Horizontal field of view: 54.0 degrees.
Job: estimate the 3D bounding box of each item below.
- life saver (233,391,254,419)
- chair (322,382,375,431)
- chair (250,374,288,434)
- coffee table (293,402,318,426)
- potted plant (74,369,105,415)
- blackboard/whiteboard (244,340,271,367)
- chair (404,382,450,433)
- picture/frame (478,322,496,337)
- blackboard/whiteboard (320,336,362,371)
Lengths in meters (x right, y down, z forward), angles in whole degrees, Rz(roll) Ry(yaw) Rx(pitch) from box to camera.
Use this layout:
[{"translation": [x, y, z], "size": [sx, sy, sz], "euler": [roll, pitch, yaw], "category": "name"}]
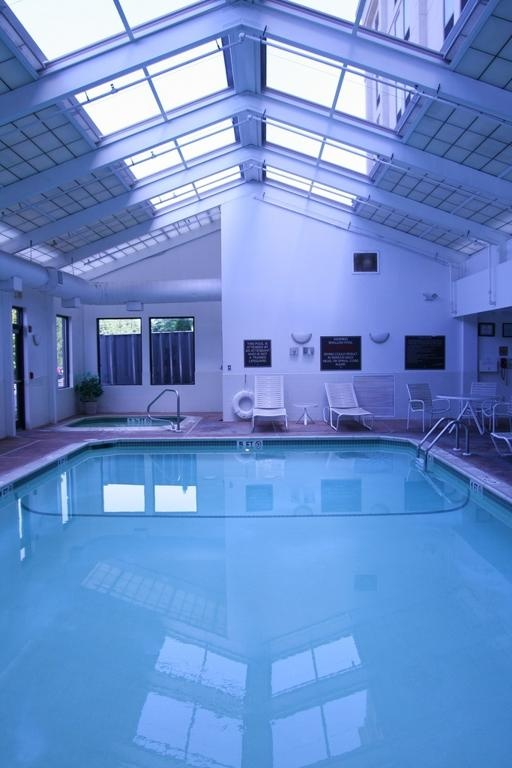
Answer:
[{"translation": [-0.237, 0.440, 10.150], "size": [0.478, 0.521, 0.127], "euler": [4, -4, -40], "category": "life saver"}, {"translation": [1.805, 0.433, 9.968], "size": [0.595, 0.770, 1.086], "euler": [-1, 3, -7], "category": "chair"}, {"translation": [0.315, 0.378, 9.431], "size": [0.761, 1.001, 1.424], "euler": [4, 0, -9], "category": "chair"}, {"translation": [1.004, 0.572, 10.205], "size": [0.417, 0.339, 0.433], "euler": [8, 12, 32], "category": "coffee table"}, {"translation": [-3.981, 0.244, 11.975], "size": [0.759, 1.280, 0.913], "euler": [-2, 8, -17], "category": "potted plant"}, {"translation": [0.021, -0.654, 10.344], "size": [0.501, 0.558, 0.054], "euler": [0, -1, -4], "category": "blackboard/whiteboard"}, {"translation": [3.279, 0.413, 9.622], "size": [0.525, 0.940, 0.613], "euler": [0, -4, -14], "category": "chair"}, {"translation": [4.827, -1.124, 10.587], "size": [0.437, 0.418, 0.235], "euler": [1, 4, 5], "category": "picture/frame"}, {"translation": [1.726, -0.654, 10.369], "size": [0.637, 0.604, 0.067], "euler": [0, -2, -2], "category": "blackboard/whiteboard"}]
